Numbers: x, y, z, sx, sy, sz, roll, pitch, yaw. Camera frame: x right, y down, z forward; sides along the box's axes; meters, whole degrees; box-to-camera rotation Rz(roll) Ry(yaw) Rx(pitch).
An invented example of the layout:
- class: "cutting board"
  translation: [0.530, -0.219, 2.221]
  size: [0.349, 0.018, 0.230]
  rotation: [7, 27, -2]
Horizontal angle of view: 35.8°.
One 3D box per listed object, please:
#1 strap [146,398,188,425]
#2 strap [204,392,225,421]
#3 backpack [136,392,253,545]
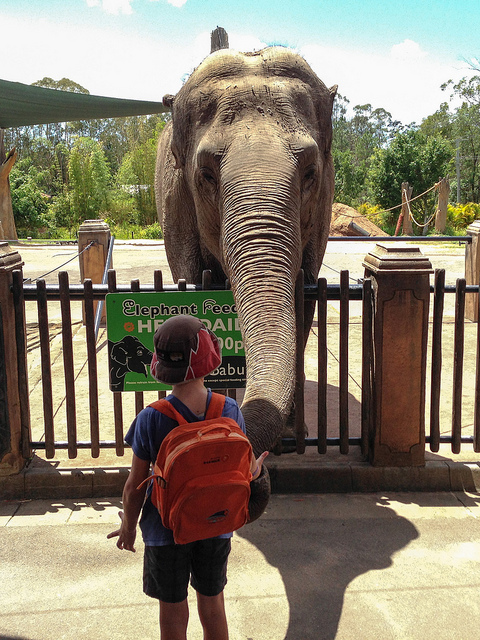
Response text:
- class: "strap"
  translation: [-0.225, 0.286, 2.320]
  size: [0.083, 0.104, 0.069]
  rotation: [-16, 10, -14]
- class: "strap"
  translation: [-0.076, 0.276, 2.390]
  size: [0.056, 0.129, 0.074]
  rotation: [5, -1, 7]
- class: "backpack"
  translation: [-0.146, 0.441, 2.376]
  size: [0.331, 0.388, 0.359]
  rotation: [-5, 33, -23]
